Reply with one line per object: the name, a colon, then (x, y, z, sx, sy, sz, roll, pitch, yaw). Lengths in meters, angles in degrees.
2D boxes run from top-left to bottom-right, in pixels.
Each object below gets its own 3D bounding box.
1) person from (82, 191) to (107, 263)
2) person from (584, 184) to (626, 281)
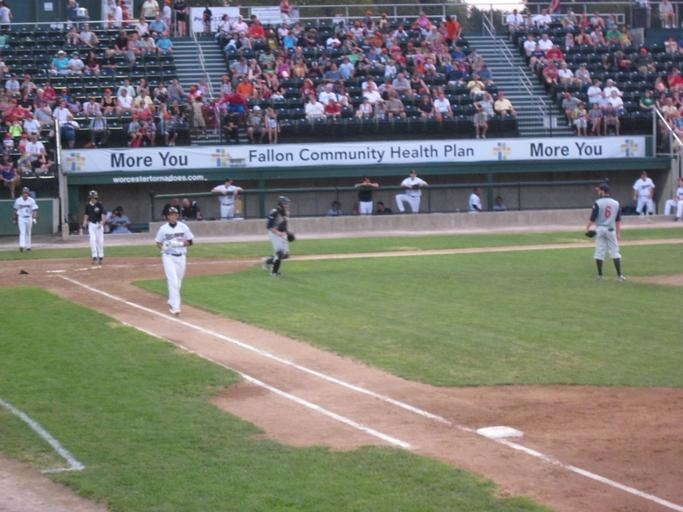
person: (-7.642, -0.954, 44.453, 0.709, 2.238, 0.904, -2, 3, -20)
person: (7.687, -0.768, 41.077, 1.146, 2.724, 0.752, 1, 1, 6)
